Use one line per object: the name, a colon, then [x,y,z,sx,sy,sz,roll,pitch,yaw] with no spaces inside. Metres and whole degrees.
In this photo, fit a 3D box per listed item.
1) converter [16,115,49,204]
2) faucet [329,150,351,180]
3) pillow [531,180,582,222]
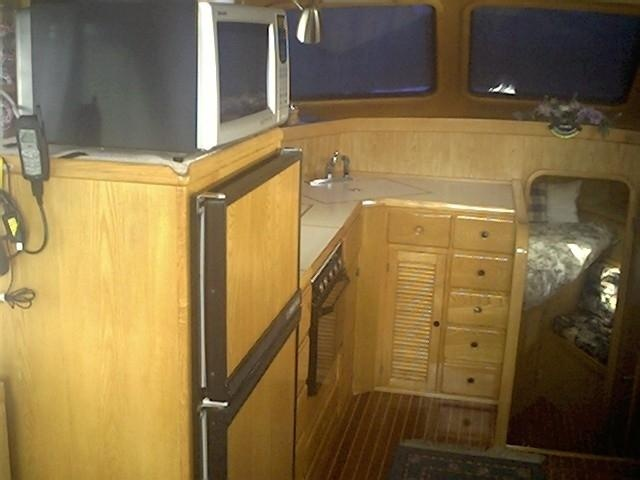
converter: [-0.579,-0.159,1.153,0.048,0.186,0.036,-3,8,-4]
faucet: [0.125,-0.479,3.541,0.164,0.212,0.156,3,18,10]
pillow: [1.482,-0.244,3.553,0.285,0.279,0.081,-1,5,4]
